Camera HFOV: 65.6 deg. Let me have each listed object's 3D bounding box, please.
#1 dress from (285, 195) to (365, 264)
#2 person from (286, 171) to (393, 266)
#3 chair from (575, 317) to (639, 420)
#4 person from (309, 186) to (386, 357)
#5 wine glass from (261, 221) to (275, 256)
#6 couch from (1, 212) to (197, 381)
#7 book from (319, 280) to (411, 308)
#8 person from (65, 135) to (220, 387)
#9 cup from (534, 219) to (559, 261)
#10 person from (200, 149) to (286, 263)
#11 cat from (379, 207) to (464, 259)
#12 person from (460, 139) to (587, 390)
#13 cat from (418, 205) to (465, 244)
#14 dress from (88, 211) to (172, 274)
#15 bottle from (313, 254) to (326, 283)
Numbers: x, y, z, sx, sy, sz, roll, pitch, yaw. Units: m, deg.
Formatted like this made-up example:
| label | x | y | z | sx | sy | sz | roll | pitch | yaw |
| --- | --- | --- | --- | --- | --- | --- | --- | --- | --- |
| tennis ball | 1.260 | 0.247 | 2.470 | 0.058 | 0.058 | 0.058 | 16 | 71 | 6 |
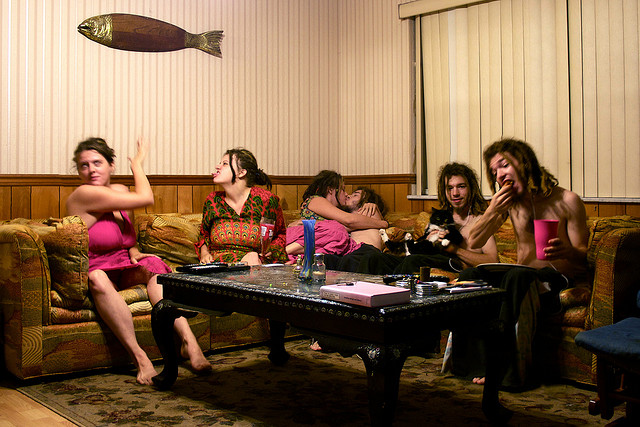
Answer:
| label | x | y | z | sx | sy | sz | roll | pitch | yaw |
| --- | --- | --- | --- | --- | --- | --- | --- | --- | --- |
| dress | 0.017 | 0.106 | 4.206 | 0.583 | 0.245 | 0.420 | 8 | 29 | 21 |
| person | 0.017 | 0.037 | 4.223 | 1.184 | 0.628 | 0.426 | -8 | 7 | -24 |
| chair | 1.486 | 0.803 | 2.558 | 0.312 | 0.251 | 0.476 | -6 | -3 | 35 |
| person | 0.156 | 0.341 | 3.102 | 0.570 | 0.411 | 1.118 | 7 | 35 | 2 |
| wine glass | -0.317 | 0.143 | 3.007 | 0.088 | 0.202 | 0.084 | -5 | 6 | -41 |
| couch | -1.535 | 0.556 | 3.467 | 1.536 | 1.118 | 0.896 | 1 | -4 | -45 |
| book | 0.203 | 0.368 | 2.320 | 0.381 | 0.067 | 0.239 | 4 | 7 | 38 |
| person | -1.258 | 0.224 | 3.313 | 0.545 | 1.225 | 1.555 | -7 | 19 | -41 |
| cup | 1.229 | 0.135 | 2.714 | 0.135 | 0.208 | 0.135 | 1 | 3 | 0 |
| person | -0.543 | -0.028 | 3.733 | 0.596 | 0.997 | 0.837 | 0 | -4 | -36 |
| cat | 0.768 | 0.207 | 3.734 | 0.500 | 0.279 | 0.269 | -25 | -24 | 26 |
| person | 1.326 | 0.293 | 3.226 | 0.716 | 1.540 | 0.788 | 5 | -7 | -16 |
| cat | 0.900 | 0.060 | 3.775 | 0.360 | 0.279 | 0.513 | -2 | 7 | 11 |
| dress | -1.334 | 0.202 | 3.402 | 0.375 | 0.410 | 0.474 | 5 | 7 | 44 |
| bottle | -0.003 | 0.296 | 2.732 | 0.069 | 0.142 | 0.122 | 0 | 5 | 0 |
